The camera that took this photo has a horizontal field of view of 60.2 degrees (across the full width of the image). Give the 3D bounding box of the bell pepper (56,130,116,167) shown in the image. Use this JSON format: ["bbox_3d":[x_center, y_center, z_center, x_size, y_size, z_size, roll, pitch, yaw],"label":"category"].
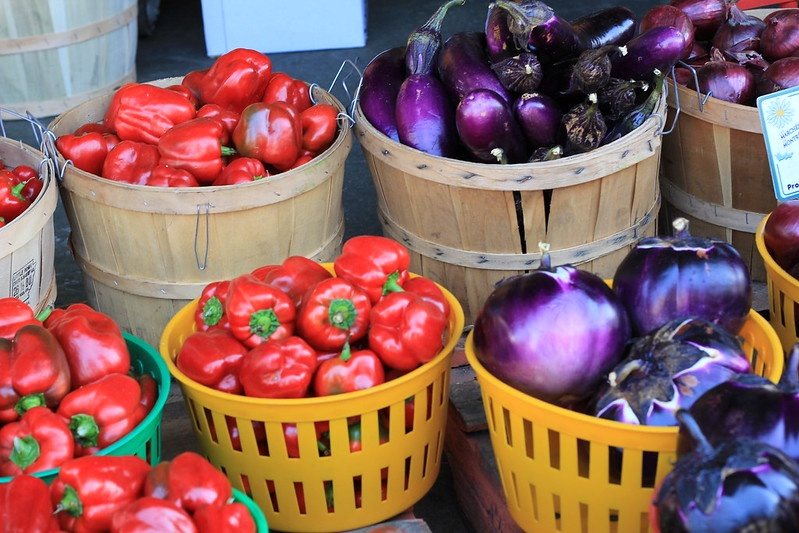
[{"bbox_3d":[-1.375,-0.527,3.074,0.182,0.199,0.194,4,13,20],"label":"bell pepper"}]

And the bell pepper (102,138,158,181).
[{"bbox_3d":[-1.187,-0.423,3.077,0.193,0.225,0.185,16,-11,-15],"label":"bell pepper"}]

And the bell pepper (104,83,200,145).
[{"bbox_3d":[-1.147,-0.721,3.217,0.355,0.268,0.274,-9,24,0],"label":"bell pepper"}]

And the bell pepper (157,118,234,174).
[{"bbox_3d":[-0.865,-0.524,3.041,0.290,0.254,0.251,-6,11,16],"label":"bell pepper"}]

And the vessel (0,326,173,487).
[{"bbox_3d":[-0.965,0.456,2.222,0.421,0.296,0.407,-1,22,-8],"label":"vessel"}]

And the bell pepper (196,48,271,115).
[{"bbox_3d":[-0.821,-0.927,3.429,0.283,0.389,0.308,-7,52,-37],"label":"bell pepper"}]

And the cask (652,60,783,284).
[{"bbox_3d":[1.321,-0.410,2.825,0.590,0.623,0.628,-31,40,-26],"label":"cask"}]

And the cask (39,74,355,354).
[{"bbox_3d":[-0.827,-0.215,3.252,1.068,0.870,1.064,2,35,4],"label":"cask"}]
